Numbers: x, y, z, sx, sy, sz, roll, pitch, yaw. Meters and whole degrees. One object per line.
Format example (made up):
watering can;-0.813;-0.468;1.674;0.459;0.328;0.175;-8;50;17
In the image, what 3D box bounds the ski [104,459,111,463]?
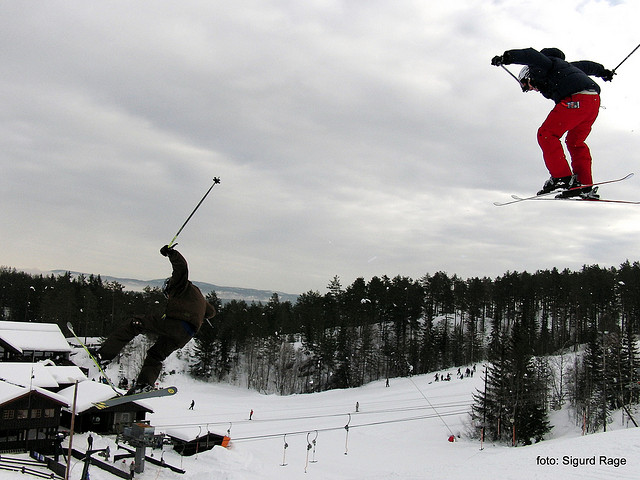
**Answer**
ski;-15.375;15.941;39.375;0.460;0.183;0.286;-10;-9;43
